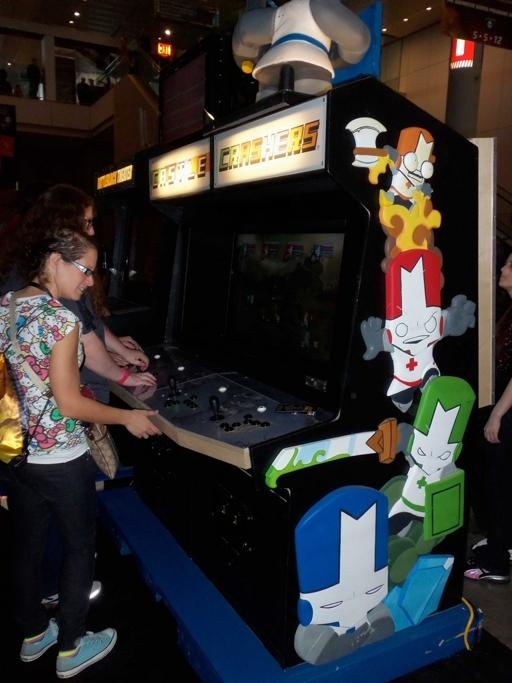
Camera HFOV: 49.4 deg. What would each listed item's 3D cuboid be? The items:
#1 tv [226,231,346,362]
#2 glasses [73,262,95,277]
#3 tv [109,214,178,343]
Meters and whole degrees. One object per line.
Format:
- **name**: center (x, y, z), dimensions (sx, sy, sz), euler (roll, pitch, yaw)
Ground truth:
- **tv**: center (0.097, -0.158, 2.035), dimensions (0.015, 0.460, 0.694), euler (9, 5, 39)
- **glasses**: center (-0.491, -0.207, 1.596), dimensions (0.031, 0.040, 0.092), euler (1, 9, 8)
- **tv**: center (-0.719, -0.335, 3.216), dimensions (0.301, 0.847, 0.938), euler (1, 9, -23)
